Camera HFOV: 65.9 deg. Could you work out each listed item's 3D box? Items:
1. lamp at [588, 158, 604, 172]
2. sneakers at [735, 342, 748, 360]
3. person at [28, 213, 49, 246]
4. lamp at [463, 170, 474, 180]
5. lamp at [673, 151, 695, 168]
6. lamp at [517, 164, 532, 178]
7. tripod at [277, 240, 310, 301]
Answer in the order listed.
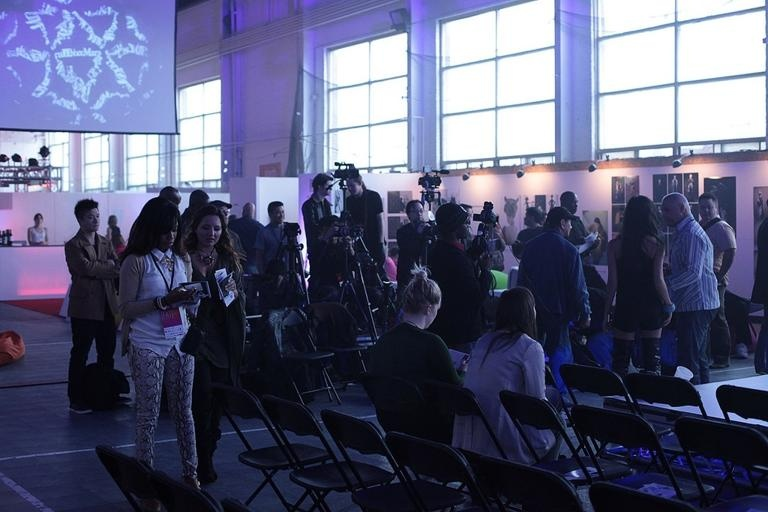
[{"bbox_3d":[3.494,-1.479,9.843,0.245,0.190,0.190,-4,7,-30],"label":"lamp"},{"bbox_3d":[4.996,1.307,8.221,0.119,0.151,0.315,-2,5,20],"label":"sneakers"},{"bbox_3d":[-9.747,-0.700,16.628,0.544,0.981,0.541,-11,-9,35],"label":"person"},{"bbox_3d":[1.607,-1.569,11.522,0.126,0.132,0.161,3,-6,10],"label":"lamp"},{"bbox_3d":[4.587,-1.460,9.057,0.291,0.216,0.219,2,6,25],"label":"lamp"},{"bbox_3d":[2.545,-1.517,10.691,0.314,0.146,0.124,-48,23,-6],"label":"lamp"},{"bbox_3d":[-1.183,0.189,7.815,0.593,0.857,0.609,-1,9,-1],"label":"tripod"}]
